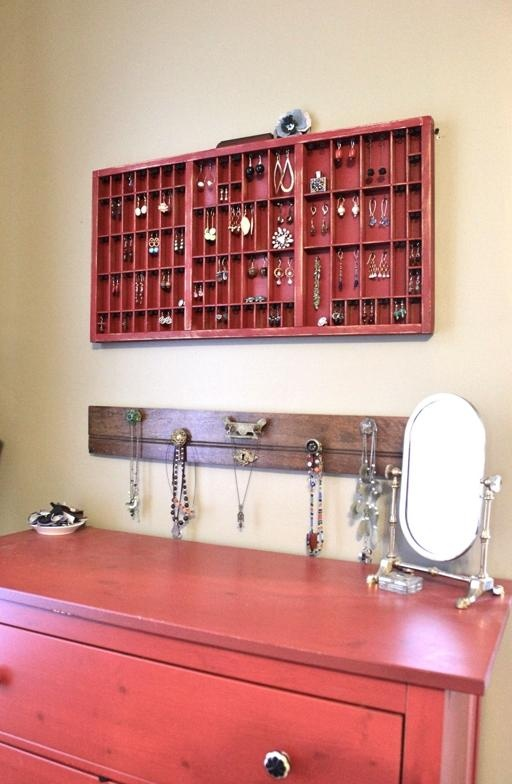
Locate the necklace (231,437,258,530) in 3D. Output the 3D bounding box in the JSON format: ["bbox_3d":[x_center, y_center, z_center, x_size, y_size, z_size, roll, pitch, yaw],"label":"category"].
[{"bbox_3d":[-0.037,0.254,1.610,0.076,0.235,0.062,2,0,17],"label":"necklace"}]

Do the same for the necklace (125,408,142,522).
[{"bbox_3d":[-0.354,0.208,1.777,0.044,0.317,0.089,2,0,-12],"label":"necklace"}]

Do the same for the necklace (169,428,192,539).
[{"bbox_3d":[-0.203,0.246,1.682,0.059,0.295,0.089,2,0,-8],"label":"necklace"}]
